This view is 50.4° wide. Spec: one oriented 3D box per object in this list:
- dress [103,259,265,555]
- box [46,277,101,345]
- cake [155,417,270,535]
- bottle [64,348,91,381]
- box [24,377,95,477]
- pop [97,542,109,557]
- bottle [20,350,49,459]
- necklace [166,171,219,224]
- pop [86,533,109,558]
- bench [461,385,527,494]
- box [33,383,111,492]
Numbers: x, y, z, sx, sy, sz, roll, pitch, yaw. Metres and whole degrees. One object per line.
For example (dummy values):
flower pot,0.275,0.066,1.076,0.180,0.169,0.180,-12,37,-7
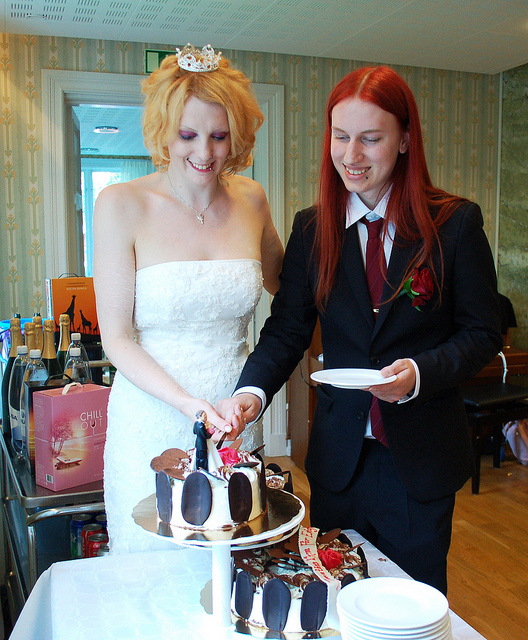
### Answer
dress,-0.180,0.245,1.469,0.454,0.813,0.323,0,6,-17
box,-0.808,-0.038,2.367,0.307,0.320,0.109,-1,-1,-28
cake,-0.091,0.215,0.828,0.150,0.156,0.152,0,-8,-17
bottle,-0.647,0.155,1.941,0.081,0.114,0.062,0,6,-20
box,-0.583,0.315,1.603,0.260,0.278,0.091,-6,13,-41
pop,-0.457,0.653,1.593,0.029,0.037,0.039,3,-24,-2
bottle,-0.748,0.273,1.821,0.083,0.335,0.349,-1,6,-23
necklace,-0.189,-0.327,1.520,0.146,0.135,0.074,0,6,-15
pop,-0.493,0.651,1.637,0.070,0.077,0.069,2,-7,-16
bench,1.583,0.813,3.975,0.396,0.611,0.841,6,7,40
box,-0.548,0.337,1.592,0.104,0.293,0.300,6,4,39
